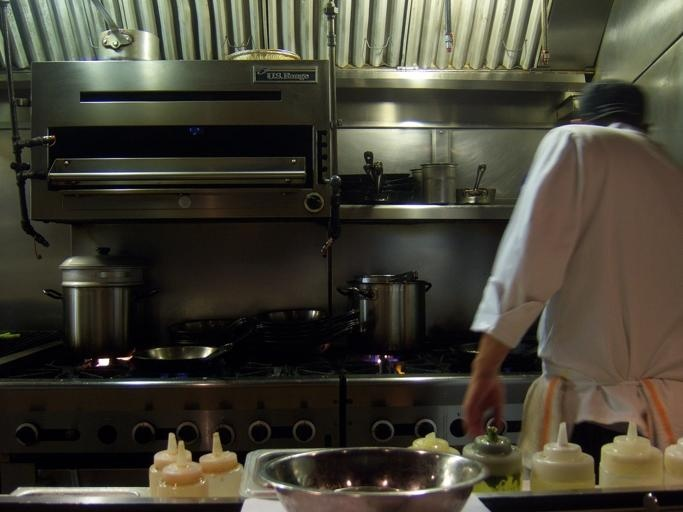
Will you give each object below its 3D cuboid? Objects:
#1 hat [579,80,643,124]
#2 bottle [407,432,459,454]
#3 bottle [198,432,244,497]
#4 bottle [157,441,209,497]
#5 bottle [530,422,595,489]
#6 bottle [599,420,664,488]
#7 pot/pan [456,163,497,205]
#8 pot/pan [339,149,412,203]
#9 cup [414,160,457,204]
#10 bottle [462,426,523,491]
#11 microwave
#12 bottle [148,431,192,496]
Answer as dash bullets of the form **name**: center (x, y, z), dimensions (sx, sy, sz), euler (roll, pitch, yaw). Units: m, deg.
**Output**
- **hat**: center (0.804, -0.461, 2.005), dimensions (0.127, 0.134, 0.174), euler (-3, 13, -19)
- **bottle**: center (0.215, 0.419, 1.500), dimensions (0.077, 0.046, 0.076), euler (1, 1, 0)
- **bottle**: center (-0.277, 0.500, 1.514), dimensions (0.108, 0.181, 0.105), euler (-7, -24, -3)
- **bottle**: center (-0.344, 0.453, 1.445), dimensions (0.112, 0.120, 0.078), euler (1, 6, 2)
- **bottle**: center (0.474, 0.454, 1.532), dimensions (0.146, 0.156, 0.144), euler (-1, -2, 1)
- **bottle**: center (0.626, 0.441, 1.544), dimensions (0.145, 0.161, 0.144), euler (0, -4, -1)
- **pot/pan**: center (0.582, -0.286, 2.932), dimensions (0.156, 0.210, 0.083), euler (1, -4, 3)
- **pot/pan**: center (0.152, -0.321, 2.868), dimensions (0.259, 0.159, 0.251), euler (0, 5, 3)
- **cup**: center (0.417, -0.311, 2.905), dimensions (0.170, 0.170, 0.179), euler (-1, 2, 0)
- **bottle**: center (0.327, 0.478, 1.515), dimensions (0.115, 0.181, 0.110), euler (4, 7, 0)
- **microwave**: center (-0.635, -0.480, 2.898), dimensions (1.197, 0.651, 0.592), euler (0, -1, 2)
- **bottle**: center (-0.380, 0.488, 1.509), dimensions (0.101, 0.163, 0.101), euler (-4, -12, -1)
